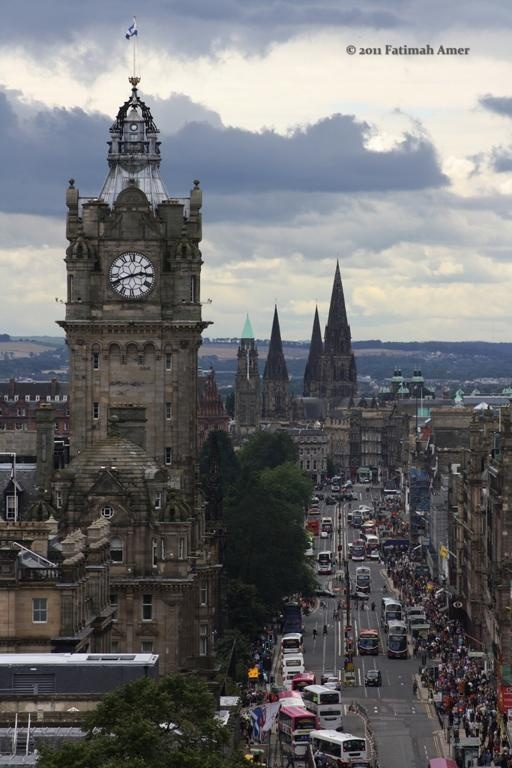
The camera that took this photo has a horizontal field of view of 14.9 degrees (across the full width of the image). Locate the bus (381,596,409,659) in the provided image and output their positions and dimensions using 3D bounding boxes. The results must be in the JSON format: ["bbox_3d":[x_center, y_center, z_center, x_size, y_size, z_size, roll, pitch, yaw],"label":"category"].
[{"bbox_3d":[10.361,18.318,145.627,1.644,2.538,8.326,-1,3,0],"label":"bus"}]

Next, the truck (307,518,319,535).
[{"bbox_3d":[7.330,18.231,246.646,1.254,1.726,2.627,0,-2,0],"label":"truck"}]

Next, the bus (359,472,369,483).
[{"bbox_3d":[23.386,19.795,416.548,1.613,3.082,2.017,-1,-6,0],"label":"bus"}]

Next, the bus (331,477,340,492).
[{"bbox_3d":[14.511,18.388,355.937,1.324,2.436,4.208,0,-1,2],"label":"bus"}]

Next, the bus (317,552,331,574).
[{"bbox_3d":[7.185,18.814,204.738,1.290,2.436,4.531,-1,-3,1],"label":"bus"}]
